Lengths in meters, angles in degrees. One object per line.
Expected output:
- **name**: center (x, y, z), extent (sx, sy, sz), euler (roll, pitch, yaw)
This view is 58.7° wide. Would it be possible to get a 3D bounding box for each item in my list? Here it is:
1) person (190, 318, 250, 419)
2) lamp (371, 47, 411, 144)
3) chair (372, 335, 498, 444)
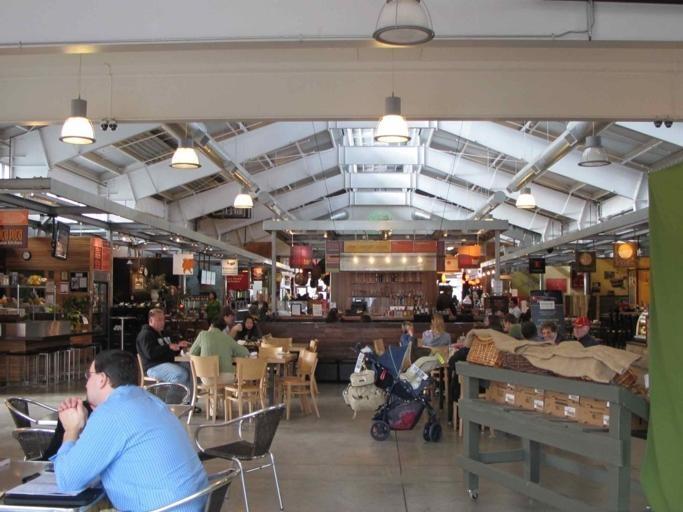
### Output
- **person**: center (-1.779, 1.643, 9.279), extent (1.247, 1.396, 0.830), euler (2, 8, 5)
- **lamp**: center (0.665, -2.110, 7.927), extent (0.421, 1.416, 1.251), euler (0, -4, 6)
- **chair**: center (1.019, 1.929, 8.232), extent (1.168, 1.371, 0.848), euler (2, -3, 3)
